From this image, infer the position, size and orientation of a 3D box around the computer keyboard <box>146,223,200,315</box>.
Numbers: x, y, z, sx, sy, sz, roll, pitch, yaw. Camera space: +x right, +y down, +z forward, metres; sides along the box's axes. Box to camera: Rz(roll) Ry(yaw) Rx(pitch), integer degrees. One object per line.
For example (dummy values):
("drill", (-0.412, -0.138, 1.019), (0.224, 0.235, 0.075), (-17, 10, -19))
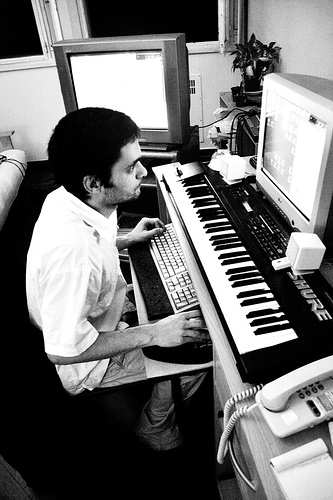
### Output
("computer keyboard", (0.034, 0.050, 1.358), (0.133, 0.061, 0.461), (-22, 41, 4))

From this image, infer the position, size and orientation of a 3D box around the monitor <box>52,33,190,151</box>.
("monitor", (-0.195, -0.780, 1.848), (0.634, 0.705, 0.426), (5, 36, 11))

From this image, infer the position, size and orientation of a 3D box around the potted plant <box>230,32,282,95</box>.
("potted plant", (0.548, -1.107, 2.334), (0.295, 0.298, 0.358), (-2, 26, -16))

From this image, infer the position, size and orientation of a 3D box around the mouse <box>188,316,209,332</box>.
("mouse", (0.090, 0.204, 1.071), (0.035, 0.012, 0.045), (-1, 29, -9))

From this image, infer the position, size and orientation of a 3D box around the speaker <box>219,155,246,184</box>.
("speaker", (0.258, -0.309, 1.504), (0.083, 0.112, 0.104), (-14, 36, -4))

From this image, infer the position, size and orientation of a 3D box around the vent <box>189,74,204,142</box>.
("vent", (0.222, -1.141, 2.927), (0.093, 0.401, 0.225), (-1, 35, 4))

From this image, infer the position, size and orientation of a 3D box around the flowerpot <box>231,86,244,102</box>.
("flowerpot", (0.452, -1.014, 2.483), (0.077, 0.075, 0.091), (-14, 40, -10))

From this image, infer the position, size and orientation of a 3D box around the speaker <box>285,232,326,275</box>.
("speaker", (0.335, 0.007, 0.927), (0.068, 0.095, 0.066), (-7, 36, -4))

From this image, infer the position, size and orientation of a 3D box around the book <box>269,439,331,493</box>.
("book", (0.204, 0.337, 0.567), (0.083, 0.054, 0.070), (-8, 39, -3))
